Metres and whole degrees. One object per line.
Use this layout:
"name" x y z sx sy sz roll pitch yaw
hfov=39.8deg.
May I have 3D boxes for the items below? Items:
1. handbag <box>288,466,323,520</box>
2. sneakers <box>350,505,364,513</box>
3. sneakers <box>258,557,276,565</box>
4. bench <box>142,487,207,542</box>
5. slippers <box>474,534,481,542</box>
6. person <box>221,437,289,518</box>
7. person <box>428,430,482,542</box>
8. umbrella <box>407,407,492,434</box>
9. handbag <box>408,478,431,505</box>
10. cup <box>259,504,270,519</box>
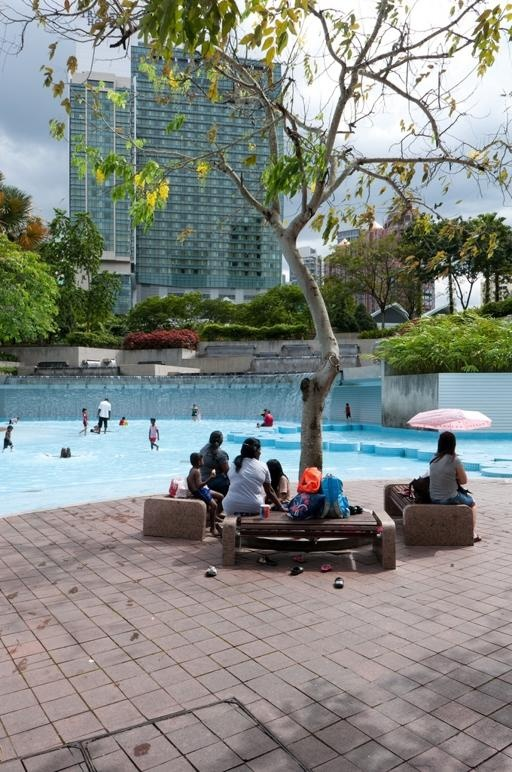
"handbag" 0.480 1.027 6.752 0.179 0.441 0.338 31 -31 -32
"sneakers" 1.022 1.282 7.325 0.119 0.056 0.161 -1 -6 -3
"sneakers" 0.097 1.666 6.725 0.057 0.068 0.171 8 -12 -41
"bench" -0.905 1.443 7.699 0.793 0.480 0.420 2 5 20
"slippers" 2.369 1.632 7.581 0.066 0.043 0.102 8 6 16
"person" -0.076 0.926 7.214 0.472 0.778 0.669 -1 -1 33
"person" 2.039 0.972 7.307 0.463 0.995 0.481 -1 -1 4
"umbrella" 2.605 0.486 9.571 0.991 0.316 1.215 -1 -1 10
"handbag" 1.790 1.131 7.674 0.264 0.232 0.213 -1 3 5
"cup" 0.077 1.228 6.927 0.122 0.092 0.125 1 -2 0
